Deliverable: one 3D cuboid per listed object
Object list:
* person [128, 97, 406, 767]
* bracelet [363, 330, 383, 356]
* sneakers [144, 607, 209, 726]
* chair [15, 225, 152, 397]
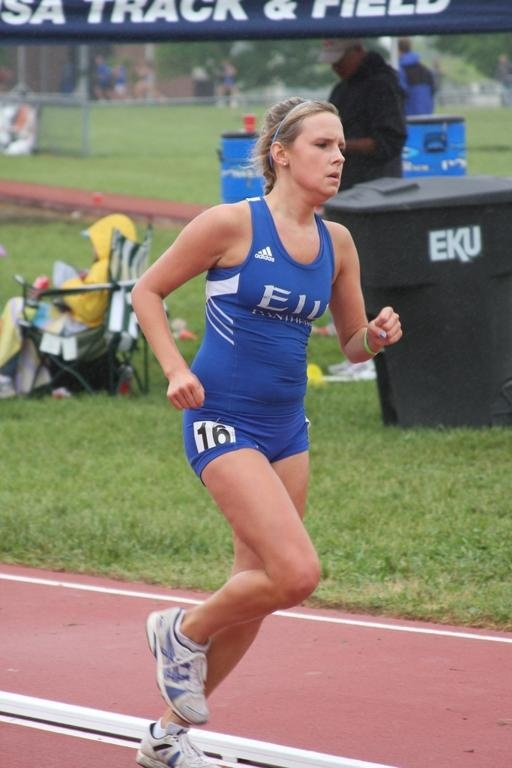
[{"bbox_3d":[0.005,0.121,2.462,0.628,1.670,0.680,5,15,14],"label":"person"},{"bbox_3d":[0.317,-0.114,2.613,0.058,0.060,0.027,-2,2,4],"label":"bracelet"},{"bbox_3d":[-0.194,0.693,2.371,0.146,0.292,0.142,0,14,-6],"label":"sneakers"},{"bbox_3d":[-0.873,-0.304,4.898,0.574,0.715,0.621,2,5,3],"label":"chair"}]
